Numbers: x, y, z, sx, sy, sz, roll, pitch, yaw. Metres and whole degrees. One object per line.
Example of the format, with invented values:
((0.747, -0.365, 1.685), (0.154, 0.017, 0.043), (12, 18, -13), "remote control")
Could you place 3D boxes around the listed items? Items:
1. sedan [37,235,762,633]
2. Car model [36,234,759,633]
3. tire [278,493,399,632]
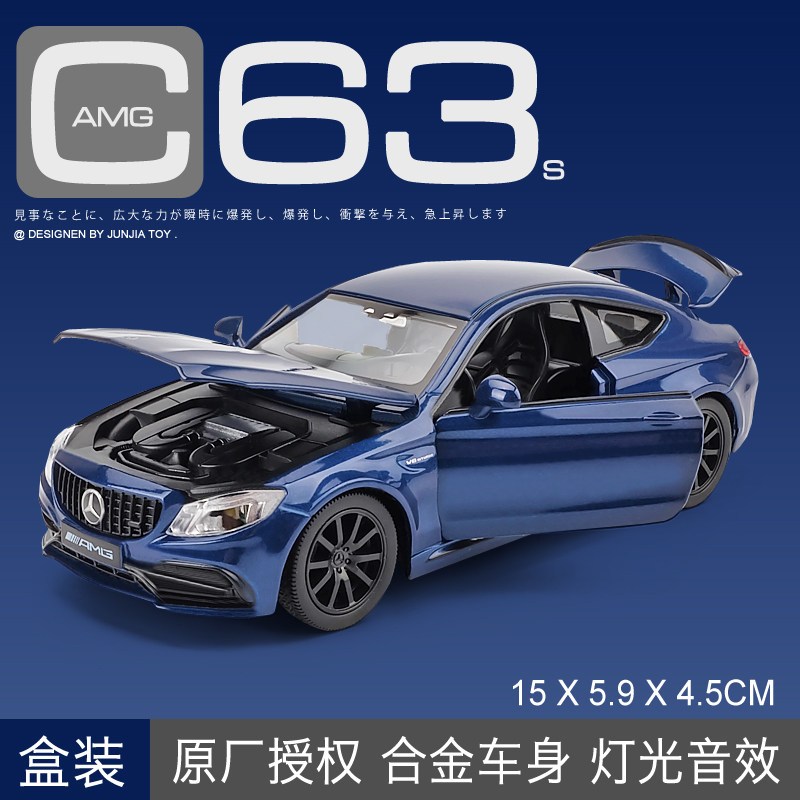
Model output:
((0.389, 0.123, 5.468), (4.190, 1.107, 2.703), (-15, 21, -38), "sedan")
((0.531, -0.058, 5.913), (5.252, 1.394, 3.211), (-17, 22, -33), "Car model")
((-0.215, 0.906, 4.652), (0.268, 0.739, 0.872), (21, -22, -37), "tire")
